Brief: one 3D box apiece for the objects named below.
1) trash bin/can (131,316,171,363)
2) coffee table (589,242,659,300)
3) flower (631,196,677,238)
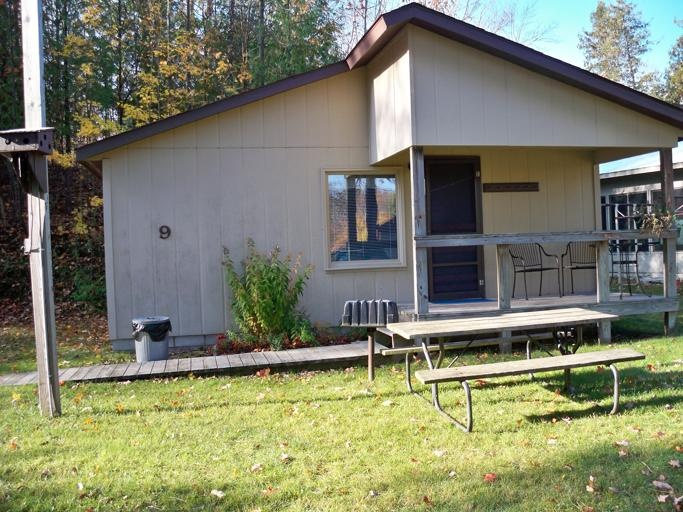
[{"bbox_3d":[-3.085,1.371,11.534,0.567,0.791,0.646,-1,-1,3],"label":"trash bin/can"},{"bbox_3d":[7.225,0.348,17.742,0.947,1.179,1.040,0,-8,27],"label":"coffee table"},{"bbox_3d":[5.407,-0.544,11.925,0.727,0.491,0.478,-4,1,12],"label":"flower"}]
